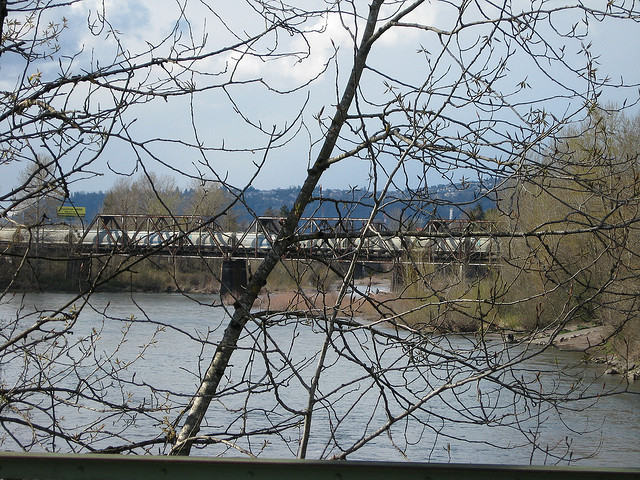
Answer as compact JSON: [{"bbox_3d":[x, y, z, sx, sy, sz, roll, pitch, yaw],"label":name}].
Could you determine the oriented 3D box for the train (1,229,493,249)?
[{"bbox_3d":[-1.795,0.001,34.342,10.059,0.652,0.808,0,0,11],"label":"train"}]
